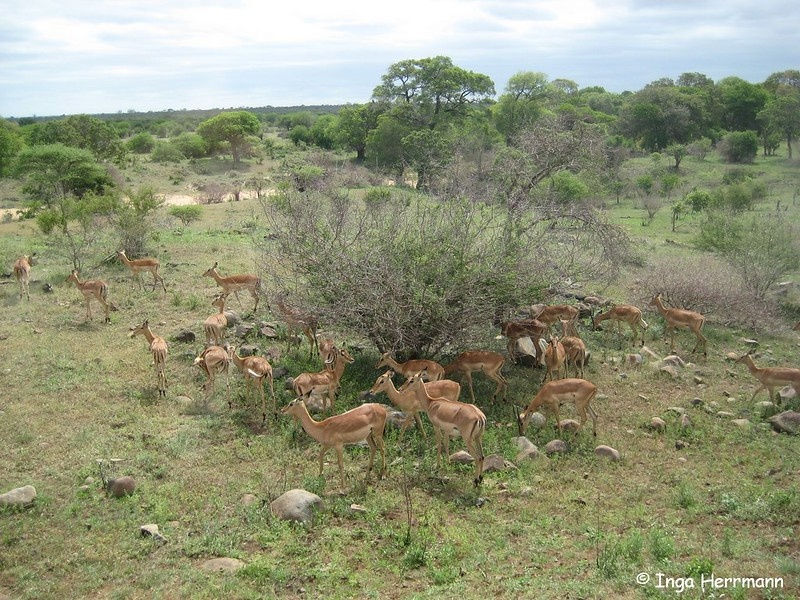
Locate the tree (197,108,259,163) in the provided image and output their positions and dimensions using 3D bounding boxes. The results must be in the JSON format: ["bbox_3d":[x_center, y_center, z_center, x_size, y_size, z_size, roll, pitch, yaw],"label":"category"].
[{"bbox_3d":[-16.760,-16.251,73.223,4.628,4.922,4.415,9,17,34],"label":"tree"}]
